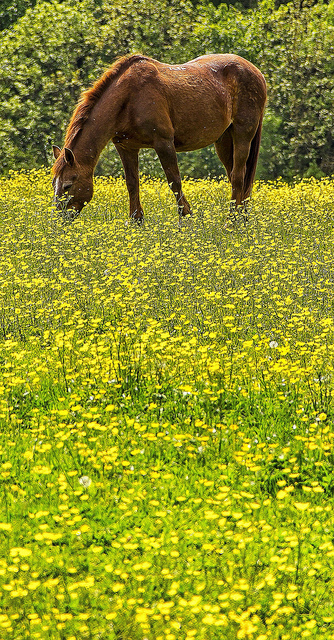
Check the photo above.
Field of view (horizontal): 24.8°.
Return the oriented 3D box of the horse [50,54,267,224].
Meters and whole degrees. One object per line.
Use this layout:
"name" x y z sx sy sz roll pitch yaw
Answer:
"horse" 0.001 -2.164 9.335 3.214 2.195 0.921 -14 23 -31
